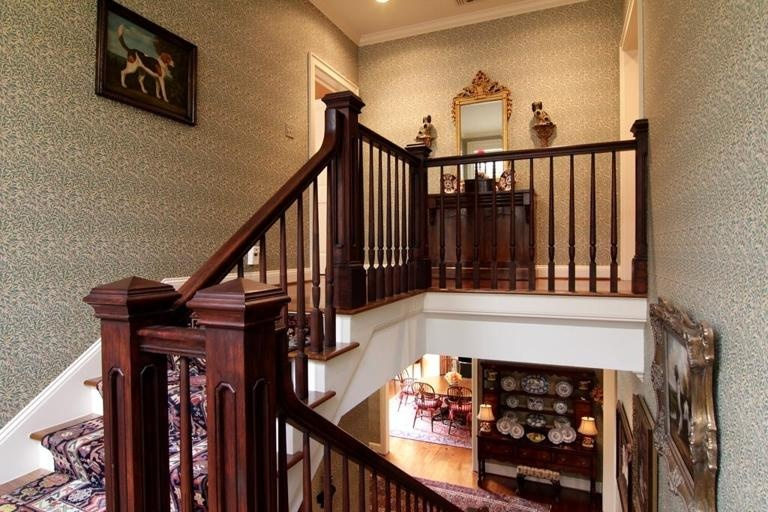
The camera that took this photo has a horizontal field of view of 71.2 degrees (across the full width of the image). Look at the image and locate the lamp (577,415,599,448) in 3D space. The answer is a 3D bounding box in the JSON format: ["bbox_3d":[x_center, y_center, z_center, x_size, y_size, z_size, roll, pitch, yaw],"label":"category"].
[{"bbox_3d":[2.851,2.469,7.526,0.254,0.452,0.418,2,3,23],"label":"lamp"}]

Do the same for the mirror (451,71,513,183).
[{"bbox_3d":[1.103,-1.493,6.169,0.723,0.088,1.455,-7,-32,5],"label":"mirror"}]

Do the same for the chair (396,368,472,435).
[{"bbox_3d":[1.116,2.855,10.650,1.089,1.428,1.015,2,15,25],"label":"chair"}]
